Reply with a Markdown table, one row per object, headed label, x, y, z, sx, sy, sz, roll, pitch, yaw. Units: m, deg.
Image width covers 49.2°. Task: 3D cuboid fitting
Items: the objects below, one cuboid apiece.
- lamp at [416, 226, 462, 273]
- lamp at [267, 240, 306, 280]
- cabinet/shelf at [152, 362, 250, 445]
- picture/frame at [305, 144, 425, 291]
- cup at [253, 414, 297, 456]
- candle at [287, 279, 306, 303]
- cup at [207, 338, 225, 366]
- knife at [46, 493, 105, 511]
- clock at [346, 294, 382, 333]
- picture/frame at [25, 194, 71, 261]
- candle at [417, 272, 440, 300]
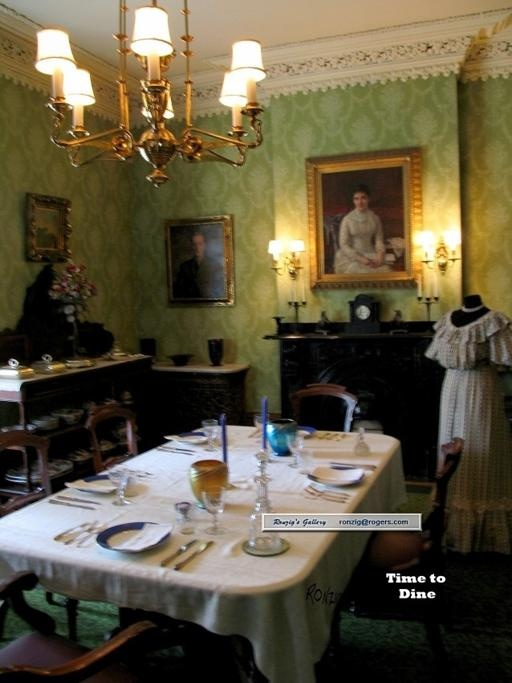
| label | x | y | z | sx | sy | sz | roll | pitch | yaw |
| --- | --- | --- | --- | --- | --- | --- | --- | --- | --- |
| lamp | 1.484 | -0.692 | 4.482 | 0.384 | 0.312 | 0.182 | 2 | 11 | 20 |
| lamp | 0.248 | -0.723 | 4.919 | 0.313 | 0.357 | 0.283 | 0 | 6 | 28 |
| cabinet/shelf | -0.452 | 0.485 | 4.706 | 0.891 | 0.729 | 0.329 | 0 | -1 | 16 |
| picture/frame | 0.961 | -1.073 | 4.713 | 1.445 | 1.492 | 0.120 | 0 | 6 | 20 |
| cup | 0.086 | 0.428 | 2.493 | 0.177 | 0.150 | 0.134 | 0 | 1 | -3 |
| candle | 0.362 | -0.454 | 4.980 | 0.157 | 0.208 | 0.039 | 0 | 6 | 26 |
| cup | -0.383 | 0.101 | 5.330 | 0.133 | 0.246 | 0.162 | -4 | 5 | -14 |
| knife | -0.653 | 0.567 | 1.984 | 0.239 | 0.017 | 0.060 | -1 | 9 | 17 |
| clock | 0.905 | -0.228 | 4.618 | 0.365 | 0.382 | 0.147 | -1 | -1 | 22 |
| picture/frame | -1.696 | -0.912 | 4.480 | 0.074 | 0.588 | 0.647 | 2 | 3 | 21 |
| candle | 1.415 | -0.461 | 4.561 | 0.242 | 0.262 | 0.082 | 3 | 7 | 31 |
